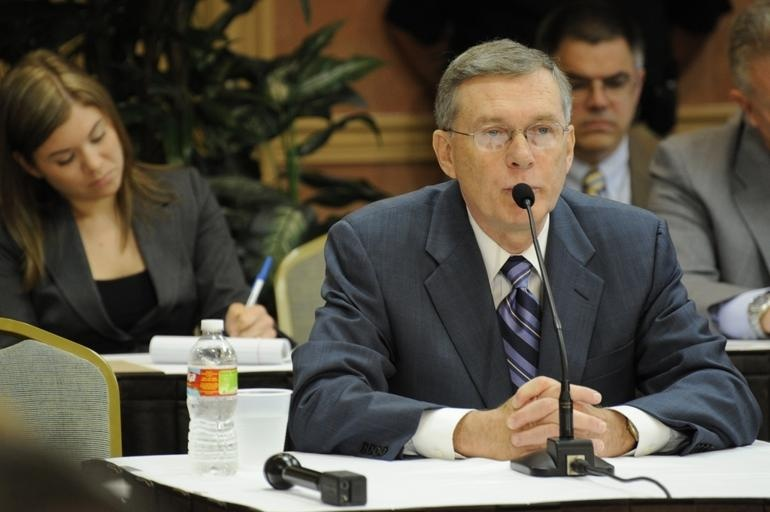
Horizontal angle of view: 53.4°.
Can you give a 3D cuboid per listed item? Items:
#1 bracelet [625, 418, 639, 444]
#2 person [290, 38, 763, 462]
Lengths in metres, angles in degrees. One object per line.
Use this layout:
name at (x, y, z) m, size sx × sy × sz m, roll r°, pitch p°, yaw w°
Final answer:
bracelet at (0.493, 0.350, 1.527) m, size 0.018 × 0.061 × 0.013 m, roll -4°, pitch 31°, yaw 29°
person at (0.298, 0.018, 1.750) m, size 1.069 × 0.791 × 0.708 m, roll 0°, pitch 14°, yaw -8°
